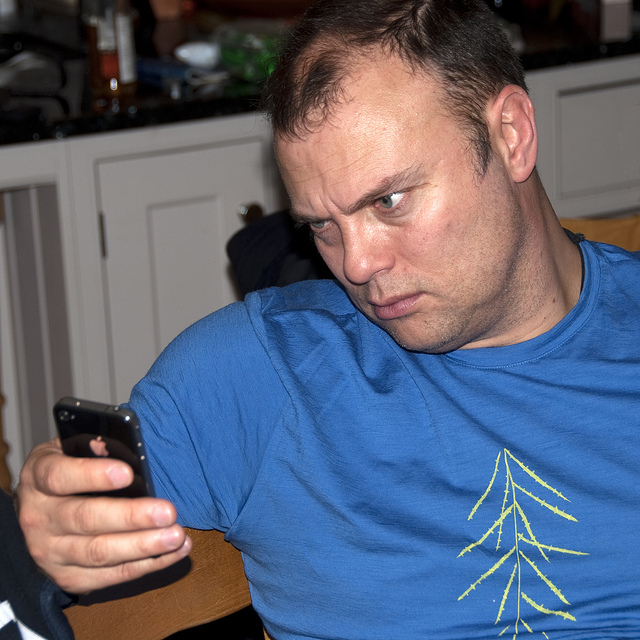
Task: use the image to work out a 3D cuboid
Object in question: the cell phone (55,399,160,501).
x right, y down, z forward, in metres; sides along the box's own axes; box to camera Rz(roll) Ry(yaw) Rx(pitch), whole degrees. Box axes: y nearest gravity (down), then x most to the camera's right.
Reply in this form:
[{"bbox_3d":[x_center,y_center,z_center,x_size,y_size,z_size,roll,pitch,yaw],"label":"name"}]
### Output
[{"bbox_3d":[-0.184,0.112,0.618,0.121,0.093,0.037,2,14,44],"label":"cell phone"}]
